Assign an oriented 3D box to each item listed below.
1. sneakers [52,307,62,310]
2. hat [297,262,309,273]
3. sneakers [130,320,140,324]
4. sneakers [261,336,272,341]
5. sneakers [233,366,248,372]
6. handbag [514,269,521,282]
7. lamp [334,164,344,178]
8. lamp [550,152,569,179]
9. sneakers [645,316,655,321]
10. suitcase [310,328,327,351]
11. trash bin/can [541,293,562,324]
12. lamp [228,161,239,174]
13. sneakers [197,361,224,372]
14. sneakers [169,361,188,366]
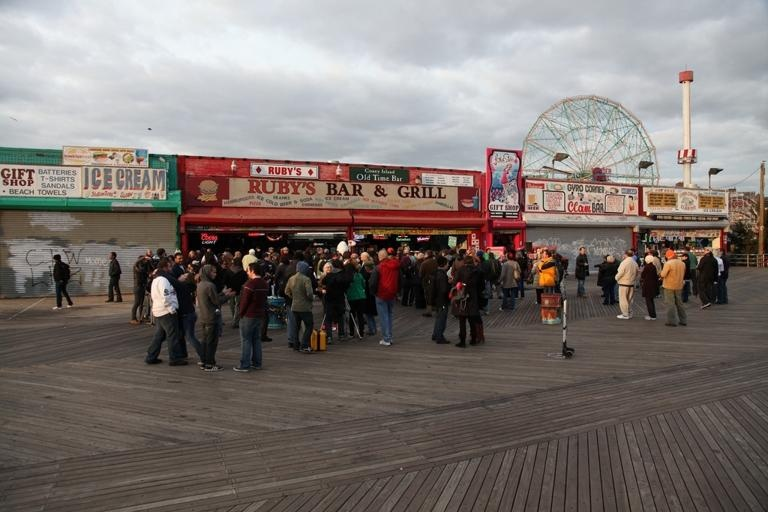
[{"bbox_3d":[-11.928,1.965,21.340,0.226,0.092,0.075,4,-1,5],"label":"sneakers"},{"bbox_3d":[-2.014,0.266,14.410,0.222,0.259,0.296,16,15,20],"label":"hat"},{"bbox_3d":[-7.626,2.069,17.790,0.357,0.147,0.118,0,2,-5],"label":"sneakers"},{"bbox_3d":[-3.164,2.279,15.696,0.316,0.209,0.105,-2,3,-14],"label":"sneakers"},{"bbox_3d":[-3.155,2.552,12.843,0.310,0.137,0.132,7,-7,4],"label":"sneakers"},{"bbox_3d":[4.666,0.698,20.536,0.118,0.417,0.462,1,5,32],"label":"handbag"},{"bbox_3d":[-2.230,-4.292,29.407,0.469,0.764,0.171,-2,11,-7],"label":"lamp"},{"bbox_3d":[11.638,-6.128,38.731,1.433,1.569,0.442,-5,11,-20],"label":"lamp"},{"bbox_3d":[8.176,1.984,18.040,0.127,0.105,0.248,3,3,-13],"label":"sneakers"},{"bbox_3d":[-1.663,2.083,14.783,0.421,0.676,0.726,0,1,-7],"label":"suitcase"},{"bbox_3d":[5.188,1.641,17.681,0.856,1.191,0.821,-1,-4,21],"label":"trash bin/can"},{"bbox_3d":[-7.035,-4.269,27.784,0.512,0.658,0.588,1,3,42],"label":"lamp"},{"bbox_3d":[-3.830,2.484,12.894,0.507,0.207,0.196,1,4,-9],"label":"sneakers"},{"bbox_3d":[-4.649,2.458,13.249,0.400,0.162,0.142,-1,0,-18],"label":"sneakers"}]
